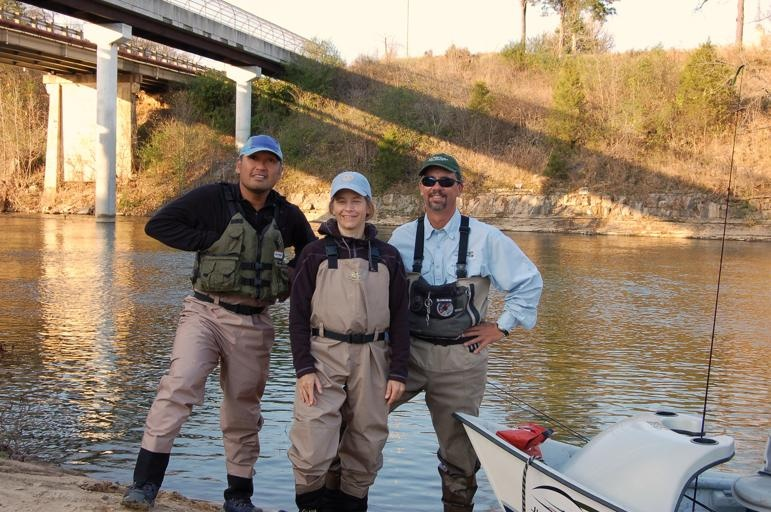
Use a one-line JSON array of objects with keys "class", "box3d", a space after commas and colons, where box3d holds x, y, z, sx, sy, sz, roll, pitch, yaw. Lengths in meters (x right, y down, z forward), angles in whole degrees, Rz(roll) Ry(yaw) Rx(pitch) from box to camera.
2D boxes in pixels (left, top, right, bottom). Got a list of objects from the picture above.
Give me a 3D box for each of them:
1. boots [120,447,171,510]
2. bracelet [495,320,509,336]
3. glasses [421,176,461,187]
[{"class": "boots", "box3d": [-3.015, 2.795, 10.718, 0.517, 0.686, 0.204, 3, 1, -15]}, {"class": "bracelet", "box3d": [1.564, 0.962, 11.372, 0.136, 0.209, 0.301, 3, 0, 40]}, {"class": "glasses", "box3d": [0.723, -0.982, 11.394, 0.472, 0.143, 0.082, 2, 0, 4]}]
